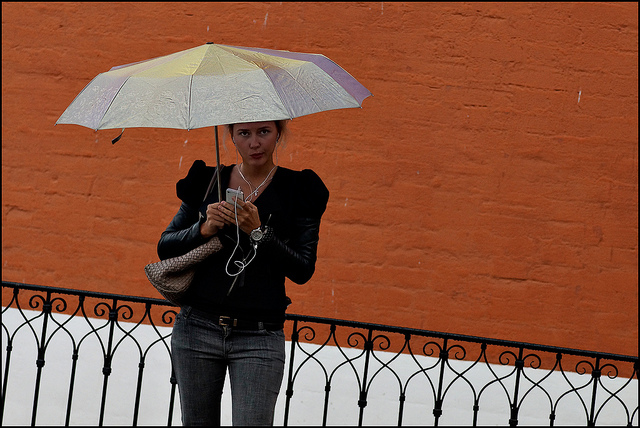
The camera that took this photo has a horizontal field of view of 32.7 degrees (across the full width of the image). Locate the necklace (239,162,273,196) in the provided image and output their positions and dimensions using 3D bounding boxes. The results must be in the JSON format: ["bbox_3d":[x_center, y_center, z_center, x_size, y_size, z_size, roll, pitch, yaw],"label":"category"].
[{"bbox_3d":[-0.644,-0.351,11.090,0.387,0.333,0.027,3,1,0],"label":"necklace"}]

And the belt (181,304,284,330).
[{"bbox_3d":[-0.889,1.041,11.067,1.022,0.227,0.251,3,-7,-11],"label":"belt"}]

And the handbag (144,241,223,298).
[{"bbox_3d":[-1.387,0.505,11.168,0.707,0.526,0.258,-22,30,0],"label":"handbag"}]
